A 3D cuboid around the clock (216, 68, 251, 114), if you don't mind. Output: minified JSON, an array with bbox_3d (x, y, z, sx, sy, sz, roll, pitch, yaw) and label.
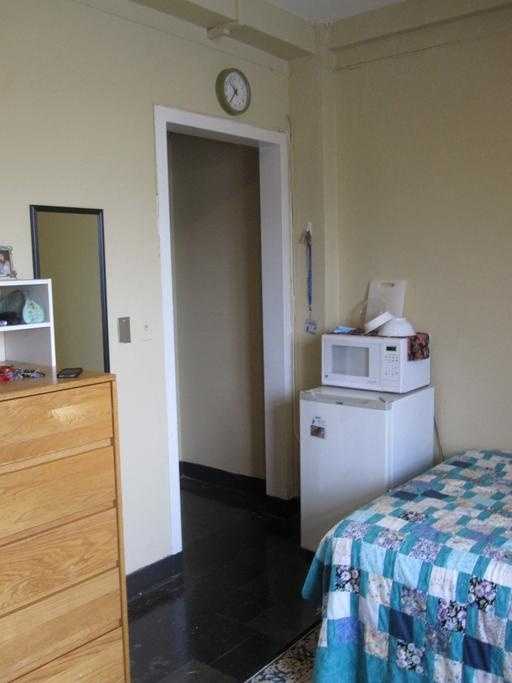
[{"bbox_3d":[-0.115,-1.277,2.891,0.052,0.227,0.277,1,4,32],"label":"clock"}]

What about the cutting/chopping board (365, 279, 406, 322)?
[{"bbox_3d":[0.710,-0.218,3.042,0.198,0.296,0.014,7,5,40],"label":"cutting/chopping board"}]

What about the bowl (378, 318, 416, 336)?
[{"bbox_3d":[0.690,-0.067,2.782,0.172,0.092,0.120,-1,4,17],"label":"bowl"}]

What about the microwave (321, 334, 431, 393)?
[{"bbox_3d":[0.605,0.092,2.849,0.302,0.292,0.423,-3,4,-45],"label":"microwave"}]
